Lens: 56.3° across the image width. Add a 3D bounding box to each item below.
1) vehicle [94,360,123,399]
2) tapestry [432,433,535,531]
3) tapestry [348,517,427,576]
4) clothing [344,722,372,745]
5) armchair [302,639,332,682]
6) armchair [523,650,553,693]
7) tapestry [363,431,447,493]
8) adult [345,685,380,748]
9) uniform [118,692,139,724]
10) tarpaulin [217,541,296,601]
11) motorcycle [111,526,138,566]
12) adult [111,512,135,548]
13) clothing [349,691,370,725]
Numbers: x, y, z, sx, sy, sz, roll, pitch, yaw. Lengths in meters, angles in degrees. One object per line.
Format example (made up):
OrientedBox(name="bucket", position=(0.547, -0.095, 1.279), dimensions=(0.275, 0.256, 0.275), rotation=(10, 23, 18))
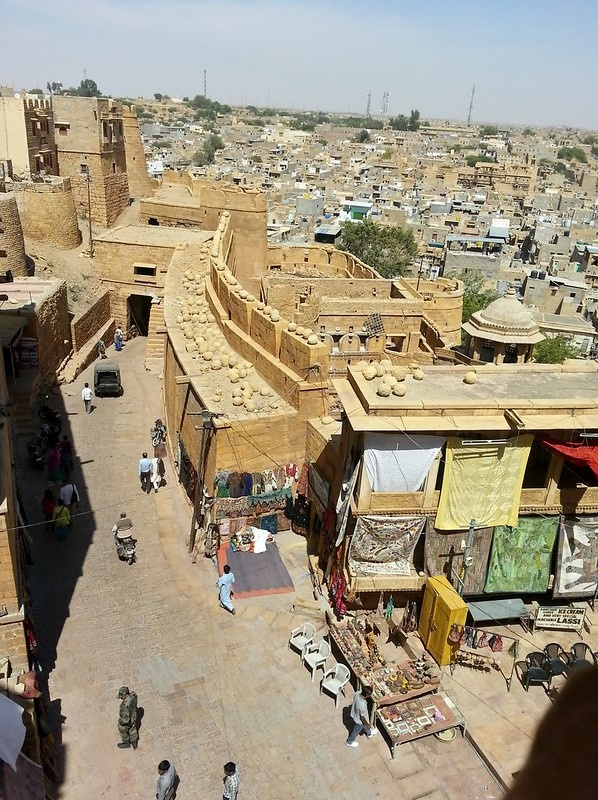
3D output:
OrientedBox(name="vehicle", position=(-7.155, -0.757, 20.898), dimensions=(0.748, 0.769, 1.524), rotation=(1, 39, -14))
OrientedBox(name="tapestry", position=(3.445, 1.514, 10.615), dimensions=(1.681, 1.969, 0.369), rotation=(-2, 21, -10))
OrientedBox(name="tapestry", position=(1.654, 2.788, 10.876), dimensions=(1.116, 1.132, 0.407), rotation=(0, 38, -6))
OrientedBox(name="clothing", position=(0.972, 5.365, 9.083), dimensions=(0.358, 0.421, 0.111), rotation=(-15, 43, -13))
OrientedBox(name="armchair", position=(0.316, 4.679, 10.460), dimensions=(0.524, 0.769, 0.548), rotation=(-4, 15, -26))
OrientedBox(name="armchair", position=(4.366, 4.953, 10.247), dimensions=(0.448, 0.752, 0.528), rotation=(0, 22, 7))
OrientedBox(name="tapestry", position=(1.910, 1.080, 10.320), dimensions=(1.130, 1.058, 0.133), rotation=(0, 29, -6))
OrientedBox(name="adult", position=(1.051, 5.143, 9.122), dimensions=(0.479, 0.963, 0.318), rotation=(-11, 44, -10))
OrientedBox(name="uniform", position=(-2.660, 4.715, 8.635), dimensions=(0.257, 0.470, 0.259), rotation=(-5, 23, -26))
OrientedBox(name="tarpaulin", position=(-1.081, 3.720, 12.831), dimensions=(1.640, 0.046, 2.565), rotation=(2, 11, -15))
OrientedBox(name="motorcycle", position=(-3.909, 3.191, 12.513), dimensions=(0.411, 0.582, 0.964), rotation=(-3, 31, -20))
OrientedBox(name="adult", position=(-3.995, 2.750, 12.623), dimensions=(0.452, 0.521, 0.957), rotation=(2, 68, -18))
OrientedBox(name="clothing", position=(0.988, 4.902, 8.937), dimensions=(0.277, 0.562, 0.220), rotation=(7, 20, 4))
